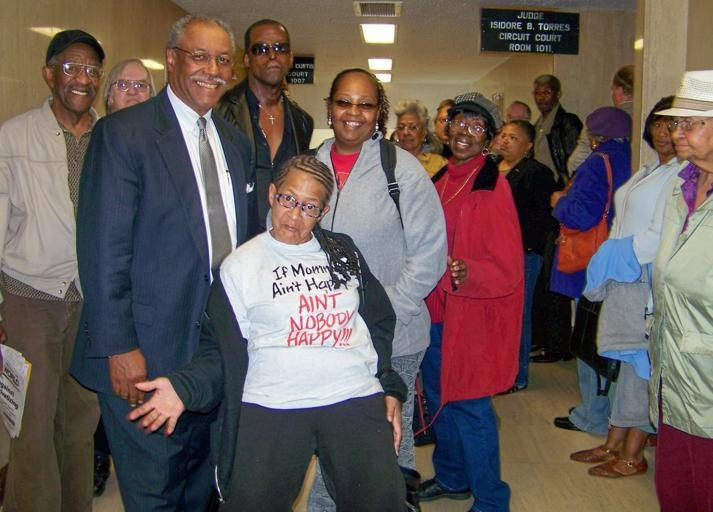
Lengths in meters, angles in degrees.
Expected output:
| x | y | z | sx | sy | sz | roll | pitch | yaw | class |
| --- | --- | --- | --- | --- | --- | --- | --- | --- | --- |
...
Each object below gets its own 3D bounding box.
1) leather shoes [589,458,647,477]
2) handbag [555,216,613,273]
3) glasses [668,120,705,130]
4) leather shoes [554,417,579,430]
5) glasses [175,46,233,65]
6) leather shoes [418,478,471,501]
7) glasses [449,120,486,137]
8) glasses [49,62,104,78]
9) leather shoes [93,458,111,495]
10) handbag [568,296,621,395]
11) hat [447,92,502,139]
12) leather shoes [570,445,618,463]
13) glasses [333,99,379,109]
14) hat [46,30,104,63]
| x | y | z | sx | sy | sz | roll | pitch | yaw | class |
| --- | --- | --- | --- | --- | --- | --- | --- | --- | --- |
| 1.802 | 1.446 | 3.959 | 0.412 | 0.145 | 0.146 | 1 | -5 | 0 | leather shoes |
| 1.855 | -0.046 | 4.438 | 0.431 | 0.392 | 0.314 | 3 | 2 | 43 | handbag |
| 1.565 | -0.618 | 2.706 | 0.082 | 0.024 | 0.077 | 0 | 4 | -21 | glasses |
| 1.694 | 1.348 | 4.591 | 0.175 | 0.067 | 0.065 | 13 | 10 | 32 | leather shoes |
| -0.729 | -0.944 | 2.718 | 0.270 | 0.089 | 0.103 | -3 | 13 | -14 | glasses |
| 0.599 | 1.511 | 3.740 | 0.357 | 0.132 | 0.125 | 5 | -8 | -5 | leather shoes |
| 0.670 | -0.748 | 3.357 | 0.127 | 0.037 | 0.126 | 13 | -7 | 18 | glasses |
| -1.615 | -1.054 | 3.273 | 0.284 | 0.095 | 0.153 | -5 | 13 | -20 | glasses |
| -1.651 | 1.400 | 3.690 | 0.070 | 0.198 | 0.209 | -5 | 13 | -15 | leather shoes |
| 1.619 | 0.552 | 3.925 | 0.221 | 0.561 | 0.404 | -5 | 13 | -16 | handbag |
| 0.744 | -0.873 | 3.395 | 0.227 | 0.146 | 0.317 | 15 | -24 | 25 | hat |
| 1.699 | 1.416 | 4.092 | 0.342 | 0.086 | 0.122 | 0 | -5 | -8 | leather shoes |
| -0.004 | -0.791 | 3.009 | 0.222 | 0.050 | 0.055 | -1 | 12 | -2 | glasses |
| -1.648 | -1.213 | 3.329 | 0.299 | 0.196 | 0.199 | -5 | 13 | -18 | hat |
